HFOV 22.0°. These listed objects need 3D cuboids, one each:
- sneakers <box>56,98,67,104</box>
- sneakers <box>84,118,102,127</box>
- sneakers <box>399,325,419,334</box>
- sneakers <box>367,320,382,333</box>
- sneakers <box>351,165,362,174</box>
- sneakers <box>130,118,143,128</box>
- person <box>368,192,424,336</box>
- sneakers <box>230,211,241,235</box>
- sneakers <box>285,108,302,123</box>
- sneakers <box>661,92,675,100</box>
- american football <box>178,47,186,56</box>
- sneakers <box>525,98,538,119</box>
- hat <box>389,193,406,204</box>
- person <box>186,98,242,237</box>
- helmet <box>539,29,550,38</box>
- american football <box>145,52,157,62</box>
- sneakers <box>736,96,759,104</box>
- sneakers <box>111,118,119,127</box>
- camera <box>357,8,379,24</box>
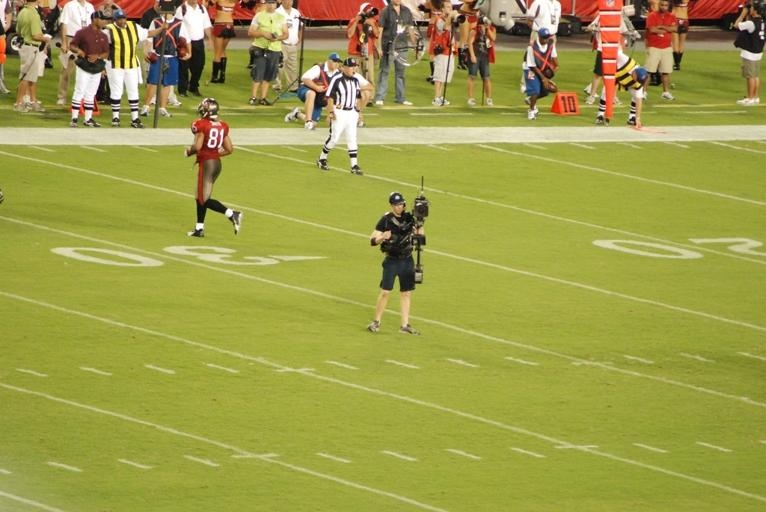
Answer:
[{"bbox_3d":[-6.493,-3.151,40.064,0.186,0.170,0.488,-2,3,-6],"label":"sneakers"},{"bbox_3d":[-5.635,-2.618,38.654,0.375,0.141,0.125,4,33,-4],"label":"sneakers"},{"bbox_3d":[0.430,1.140,30.180,0.328,0.119,0.114,11,20,23],"label":"sneakers"},{"bbox_3d":[-0.140,1.080,30.157,0.151,0.112,0.230,2,12,2],"label":"sneakers"},{"bbox_3d":[-0.475,-1.611,36.667,0.172,0.173,0.336,6,8,22],"label":"sneakers"},{"bbox_3d":[-4.863,-2.623,38.781,0.300,0.122,0.137,8,16,36],"label":"sneakers"},{"bbox_3d":[0.194,0.098,30.171,0.806,2.174,0.721,4,7,-1],"label":"person"},{"bbox_3d":[-2.449,-0.553,33.013,0.246,0.425,0.155,-6,35,-1],"label":"sneakers"},{"bbox_3d":[-1.810,-2.891,40.114,0.236,0.183,0.492,-29,3,-24],"label":"sneakers"},{"bbox_3d":[6.376,-3.629,44.561,0.133,0.111,0.295,-13,16,-39],"label":"sneakers"},{"bbox_3d":[-3.977,-4.086,39.626,0.156,0.185,0.153,3,7,-6],"label":"american football"},{"bbox_3d":[3.127,-3.125,41.640,0.209,0.513,0.269,-2,1,3],"label":"sneakers"},{"bbox_3d":[0.207,-0.875,29.854,0.170,0.150,0.210,-18,-8,-26],"label":"hat"},{"bbox_3d":[-2.820,-1.450,32.860,0.921,2.322,0.538,3,8,-11],"label":"person"},{"bbox_3d":[3.304,-4.638,40.725,0.185,0.184,0.167,-6,47,3],"label":"helmet"},{"bbox_3d":[-4.563,-3.956,39.042,0.235,0.160,0.161,-5,27,-1],"label":"american football"},{"bbox_3d":[8.194,-3.522,44.546,0.558,0.182,0.179,0,16,-4],"label":"sneakers"},{"bbox_3d":[-5.229,-2.632,38.754,0.223,0.213,0.583,-1,3,-8],"label":"sneakers"},{"bbox_3d":[-0.264,-5.060,41.328,0.407,0.168,0.307,3,-28,-44],"label":"camera"}]
